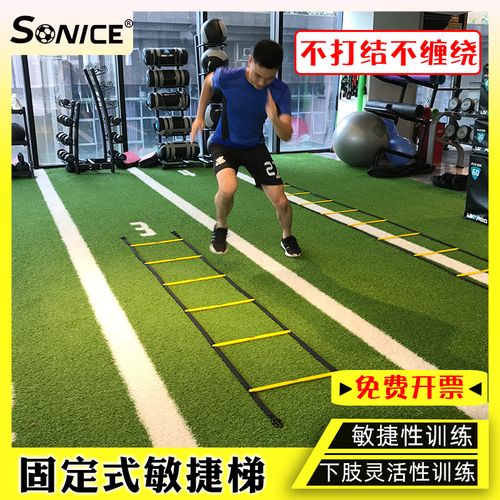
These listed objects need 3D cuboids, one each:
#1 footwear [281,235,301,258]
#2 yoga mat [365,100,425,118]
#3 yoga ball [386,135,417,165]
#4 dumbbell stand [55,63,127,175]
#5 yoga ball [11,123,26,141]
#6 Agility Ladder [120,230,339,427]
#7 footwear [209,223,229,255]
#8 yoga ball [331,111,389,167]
[{"bbox_3d":[0.322,-0.031,2.886,0.110,0.080,0.213,-8,26,-18],"label":"footwear"},{"bbox_3d":[2.396,-2.361,5.981,0.336,0.363,1.075,-10,19,-24],"label":"yoga mat"},{"bbox_3d":[2.582,-1.695,6.066,0.466,0.467,0.674,6,19,22],"label":"yoga ball"},{"bbox_3d":[-2.803,-1.934,6.329,1.165,2.383,0.936,-7,26,-25],"label":"dumbbell stand"},{"bbox_3d":[-3.583,-1.809,5.516,0.203,0.290,0.215,-2,18,0],"label":"yoga ball"},{"bbox_3d":[-0.236,0.274,2.211,0.496,0.102,2.187,-11,20,-28],"label":"Agility Ladder"},{"bbox_3d":[-0.225,-0.085,2.697,0.098,0.098,0.248,0,52,-10],"label":"footwear"},{"bbox_3d":[1.921,-1.981,6.291,0.859,0.906,0.865,0,20,0],"label":"yoga ball"}]
